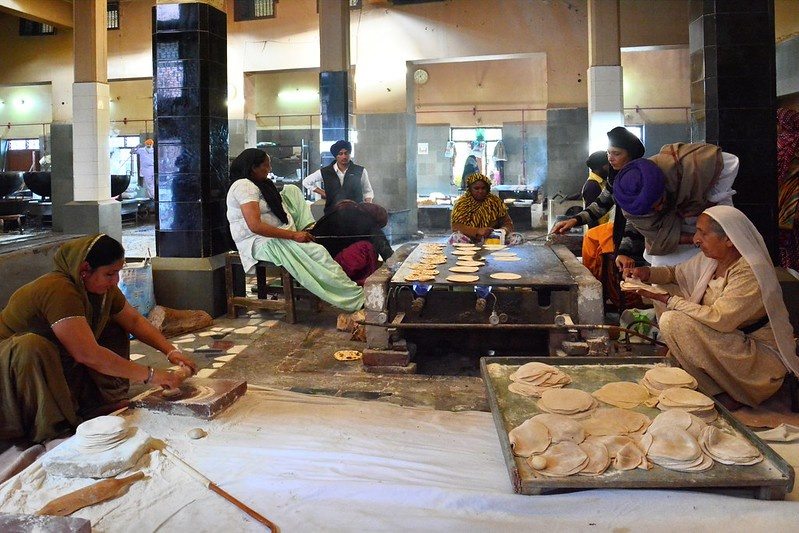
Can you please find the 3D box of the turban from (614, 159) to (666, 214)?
[{"bbox_3d":[2.146,-0.718,5.311,0.427,0.492,0.239,6,12,22],"label":"turban"}]

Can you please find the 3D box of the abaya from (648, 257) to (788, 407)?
[{"bbox_3d":[2.575,0.443,5.042,1.170,1.340,1.099,-5,6,31],"label":"abaya"}]

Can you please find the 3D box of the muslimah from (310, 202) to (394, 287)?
[{"bbox_3d":[-0.566,-0.314,7.297,0.939,0.486,1.093,15,19,10],"label":"muslimah"}]

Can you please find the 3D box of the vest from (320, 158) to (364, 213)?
[{"bbox_3d":[-0.882,-1.213,9.048,0.696,0.732,0.422,-4,7,-3],"label":"vest"}]

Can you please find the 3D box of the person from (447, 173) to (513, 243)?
[{"bbox_3d":[1.038,-0.633,7.549,0.903,1.049,0.611,-9,23,-14],"label":"person"}]

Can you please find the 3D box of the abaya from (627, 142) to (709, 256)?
[{"bbox_3d":[2.432,-0.708,5.540,0.682,0.812,0.739,-21,-4,4],"label":"abaya"}]

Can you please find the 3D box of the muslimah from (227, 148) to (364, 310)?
[{"bbox_3d":[-1.172,-0.474,6.916,1.735,1.747,1.344,11,25,19],"label":"muslimah"}]

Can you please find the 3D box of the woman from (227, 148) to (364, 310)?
[{"bbox_3d":[-1.166,-0.484,6.928,1.656,1.736,1.306,14,26,26],"label":"woman"}]

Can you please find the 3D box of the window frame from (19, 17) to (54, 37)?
[{"bbox_3d":[-8.903,-5.874,14.369,1.079,0.627,0.099,0,-10,-2],"label":"window frame"}]

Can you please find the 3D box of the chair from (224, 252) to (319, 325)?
[{"bbox_3d":[-1.541,0.208,7.200,0.896,0.673,0.849,4,8,13],"label":"chair"}]

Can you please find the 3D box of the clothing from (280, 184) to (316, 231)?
[{"bbox_3d":[-1.287,-0.699,7.197,0.412,0.583,0.246,-31,21,-36],"label":"clothing"}]
